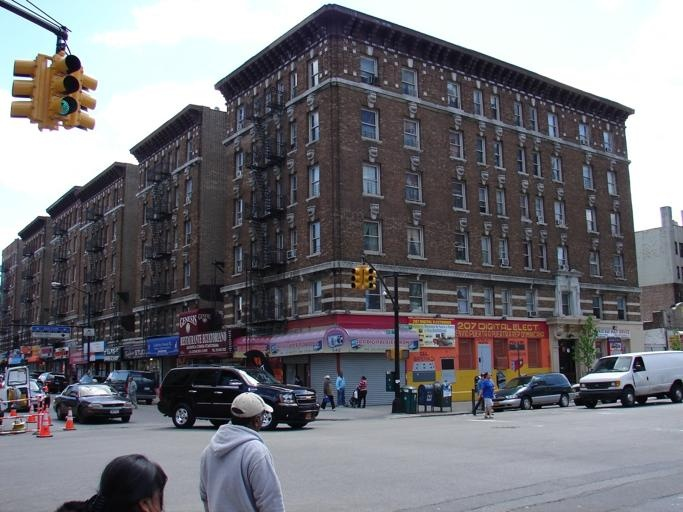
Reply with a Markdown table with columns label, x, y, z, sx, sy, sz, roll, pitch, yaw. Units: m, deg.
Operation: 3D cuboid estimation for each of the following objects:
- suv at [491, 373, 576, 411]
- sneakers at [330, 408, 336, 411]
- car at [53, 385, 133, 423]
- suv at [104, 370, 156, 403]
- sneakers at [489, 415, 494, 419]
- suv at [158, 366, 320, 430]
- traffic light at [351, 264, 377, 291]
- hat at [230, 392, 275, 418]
| label | x | y | z | sx | sy | sz | roll | pitch | yaw |
| --- | --- | --- | --- | --- | --- | --- | --- | --- | --- |
| suv | 9.395 | 6.667 | 34.127 | 4.599 | 1.753 | 1.260 | 6 | -15 | -33 |
| sneakers | -0.439 | 8.004 | 36.098 | 0.148 | 0.172 | 0.441 | 1 | -20 | -8 |
| car | -10.945 | 6.423 | 30.238 | 3.988 | 1.757 | 1.875 | -14 | -17 | 42 |
| suv | -12.606 | 8.207 | 42.880 | 2.051 | 1.683 | 3.186 | 10 | -9 | -42 |
| sneakers | 6.177 | 6.652 | 28.495 | 0.241 | 0.183 | 0.249 | -3 | -7 | 23 |
| suv | -3.903 | 4.958 | 25.036 | 5.229 | 2.036 | 2.629 | -7 | -12 | 25 |
| traffic light | 0.971 | 0.931 | 30.538 | 1.087 | 0.998 | 1.104 | -2 | -7 | 7 |
| hat | -1.114 | 1.866 | 8.626 | 0.427 | 0.170 | 0.283 | 1 | 4 | -41 |
